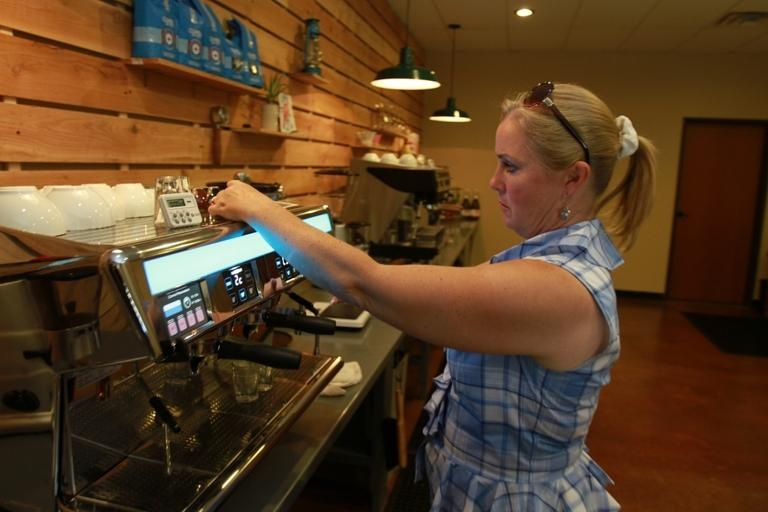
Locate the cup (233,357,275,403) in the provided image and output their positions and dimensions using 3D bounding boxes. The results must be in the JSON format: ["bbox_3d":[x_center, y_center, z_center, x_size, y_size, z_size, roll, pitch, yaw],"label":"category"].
[{"bbox_3d":[-0.442,0.418,1.700,0.171,0.151,0.097,-4,-3,19],"label":"cup"}]

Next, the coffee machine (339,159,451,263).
[{"bbox_3d":[0.097,-0.318,3.667,0.708,0.591,0.903,1,3,7],"label":"coffee machine"}]

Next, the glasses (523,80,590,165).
[{"bbox_3d":[0.454,-0.354,1.352,0.182,0.208,0.088,15,18,38],"label":"glasses"}]

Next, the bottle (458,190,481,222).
[{"bbox_3d":[1.165,-0.688,7.015,0.405,0.336,0.363,0,-2,2],"label":"bottle"}]
